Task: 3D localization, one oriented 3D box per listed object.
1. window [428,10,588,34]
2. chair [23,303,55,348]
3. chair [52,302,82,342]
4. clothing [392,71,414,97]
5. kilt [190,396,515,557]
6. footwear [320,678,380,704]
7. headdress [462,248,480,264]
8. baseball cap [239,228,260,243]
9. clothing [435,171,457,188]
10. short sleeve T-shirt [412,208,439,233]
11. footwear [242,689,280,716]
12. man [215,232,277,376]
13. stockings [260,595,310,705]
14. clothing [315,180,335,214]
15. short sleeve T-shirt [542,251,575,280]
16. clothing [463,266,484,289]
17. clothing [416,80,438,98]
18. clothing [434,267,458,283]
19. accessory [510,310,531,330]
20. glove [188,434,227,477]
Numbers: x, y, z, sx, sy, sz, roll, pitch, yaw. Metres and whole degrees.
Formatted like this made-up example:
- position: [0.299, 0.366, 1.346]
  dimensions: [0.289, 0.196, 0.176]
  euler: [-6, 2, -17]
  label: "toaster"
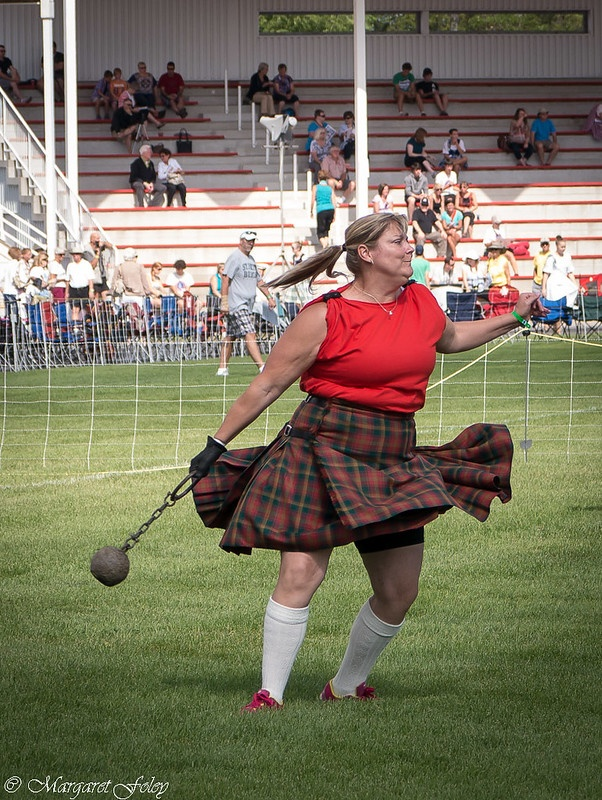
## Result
- position: [4.319, -7.739, 30.065]
  dimensions: [2.108, 0.074, 0.464]
  euler: [1, -28, -2]
  label: "window"
- position: [-2.677, -0.776, 14.944]
  dimensions: [0.304, 0.423, 0.477]
  euler: [-2, 7, -10]
  label: "chair"
- position: [-2.448, -0.817, 15.196]
  dimensions: [0.418, 0.387, 0.287]
  euler: [0, 5, -5]
  label: "chair"
- position: [1.856, -5.696, 26.492]
  dimensions: [0.433, 0.458, 0.408]
  euler: [2, 2, -8]
  label: "clothing"
- position: [0.138, 0.228, 4.225]
  dimensions: [0.691, 0.276, 0.561]
  euler: [-12, -1, 11]
  label: "kilt"
- position: [0.151, 0.882, 4.466]
  dimensions: [0.178, 0.062, 0.067]
  euler: [0, -13, -8]
  label: "footwear"
- position: [2.220, -1.849, 18.796]
  dimensions: [0.281, 0.125, 0.351]
  euler: [0, 0, -5]
  label: "headdress"
- position: [-0.469, -1.461, 13.049]
  dimensions: [0.143, 0.103, 0.196]
  euler: [3, 5, -13]
  label: "baseball cap"
- position: [2.218, -3.322, 22.163]
  dimensions: [0.331, 0.186, 0.438]
  euler: [-2, 30, 7]
  label: "clothing"
- position: [1.784, -2.551, 20.893]
  dimensions: [0.399, 0.359, 0.203]
  euler: [-6, 3, -33]
  label: "short sleeve T-shirt"
- position: [-0.124, 0.876, 4.245]
  dimensions: [0.059, 0.041, 0.099]
  euler: [-6, -10, 37]
  label: "footwear"
- position: [-0.511, -0.852, 13.042]
  dimensions: [0.451, 1.286, 0.642]
  euler: [-1, 7, -41]
  label: "man"
- position: [-0.055, 0.731, 4.257]
  dimensions: [0.127, 0.341, 0.149]
  euler: [-4, 8, -23]
  label: "stockings"
- position: [0.321, -2.795, 20.177]
  dimensions: [0.241, 0.422, 0.332]
  euler: [-1, 7, 1]
  label: "clothing"
- position: [3.237, -1.729, 18.103]
  dimensions: [0.509, 0.385, 0.270]
  euler: [1, -8, -3]
  label: "short sleeve T-shirt"
- position: [2.234, -1.570, 18.887]
  dimensions: [0.299, 0.372, 0.205]
  euler: [3, -18, -9]
  label: "clothing"
- position: [2.287, -5.594, 26.501]
  dimensions: [0.379, 0.441, 0.323]
  euler: [-2, -3, -9]
  label: "clothing"
- position: [1.898, -1.593, 19.188]
  dimensions: [0.354, 0.323, 0.184]
  euler: [1, -4, 5]
  label: "clothing"
- position: [0.734, -0.270, 4.838]
  dimensions: [0.065, 0.026, 0.086]
  euler: [47, 7, 34]
  label: "accessory"
- position: [-0.280, 0.169, 4.306]
  dimensions: [0.081, 0.132, 0.057]
  euler: [49, 15, 28]
  label: "glove"
